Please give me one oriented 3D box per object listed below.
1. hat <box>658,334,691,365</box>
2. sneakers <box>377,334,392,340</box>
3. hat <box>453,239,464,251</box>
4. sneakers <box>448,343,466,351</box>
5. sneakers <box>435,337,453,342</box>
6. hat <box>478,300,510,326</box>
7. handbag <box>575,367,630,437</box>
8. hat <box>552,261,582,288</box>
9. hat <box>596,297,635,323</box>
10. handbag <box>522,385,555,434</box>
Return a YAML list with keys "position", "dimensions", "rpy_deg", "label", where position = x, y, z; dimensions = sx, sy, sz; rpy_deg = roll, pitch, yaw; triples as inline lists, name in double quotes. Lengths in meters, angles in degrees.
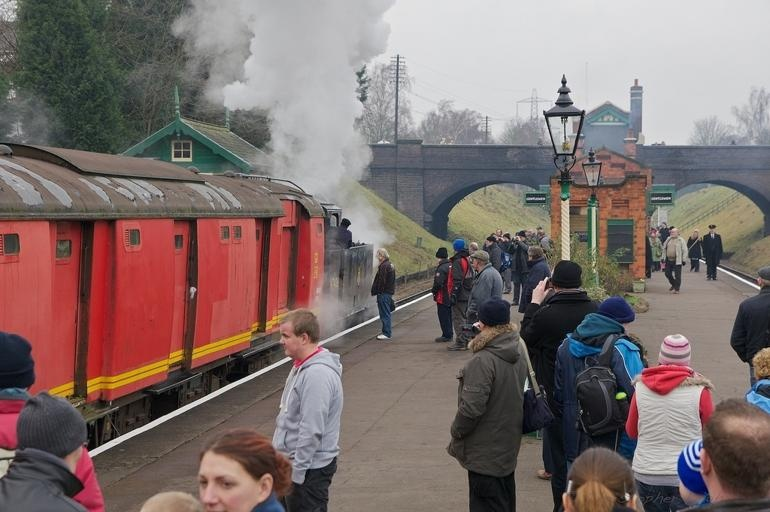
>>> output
- position: [2.963, 0.934, 9.264]
  dimensions: [0.294, 0.300, 0.332]
  rpy_deg: [8, 7, 20]
  label: "hat"
- position: [-0.019, 1.792, 20.209]
  dimensions: [0.223, 0.086, 0.126]
  rpy_deg: [5, -1, -5]
  label: "sneakers"
- position: [1.478, -0.219, 18.399]
  dimensions: [0.242, 0.191, 0.183]
  rpy_deg: [5, 12, 33]
  label: "hat"
- position: [1.465, 1.828, 18.545]
  dimensions: [0.336, 0.164, 0.155]
  rpy_deg: [4, 1, 5]
  label: "sneakers"
- position: [1.261, 1.761, 19.583]
  dimensions: [0.349, 0.146, 0.126]
  rpy_deg: [3, 0, 1]
  label: "sneakers"
- position: [1.159, 0.581, 9.599]
  dimensions: [0.290, 0.219, 0.297]
  rpy_deg: [3, 14, 29]
  label: "hat"
- position: [2.285, 1.502, 9.495]
  dimensions: [0.576, 0.716, 0.421]
  rpy_deg: [-5, -23, 5]
  label: "handbag"
- position: [2.106, 0.214, 10.572]
  dimensions: [0.328, 0.347, 0.305]
  rpy_deg: [-1, 7, 7]
  label: "hat"
- position: [2.532, 0.607, 9.911]
  dimensions: [0.360, 0.228, 0.257]
  rpy_deg: [10, 4, -36]
  label: "hat"
- position: [1.627, 1.607, 9.763]
  dimensions: [0.242, 0.456, 0.473]
  rpy_deg: [-5, -8, -14]
  label: "handbag"
